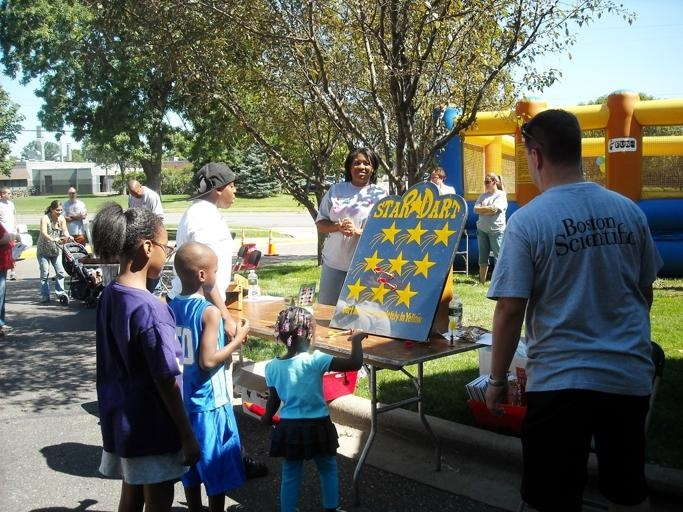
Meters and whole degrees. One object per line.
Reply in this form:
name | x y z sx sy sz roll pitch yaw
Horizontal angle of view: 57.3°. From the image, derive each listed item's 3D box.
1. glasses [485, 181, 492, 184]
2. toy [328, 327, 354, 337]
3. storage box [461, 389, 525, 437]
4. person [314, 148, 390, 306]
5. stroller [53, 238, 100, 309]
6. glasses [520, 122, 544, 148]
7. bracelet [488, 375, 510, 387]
glasses | 2.690 -1.364 11.533 0.065 0.053 0.095 1 5 -3
toy | -0.020 0.612 5.019 0.229 0.065 0.071 -9 10 -38
storage box | 1.260 1.327 5.066 0.426 0.284 0.646 1 -5 -8
person | 0.035 -0.266 5.882 0.690 1.496 0.516 2 3 18
stroller | -4.696 0.264 11.386 0.959 1.080 0.628 4 4 13
glasses | 1.039 -0.678 3.478 0.127 0.036 0.126 18 40 -20
bracelet | 0.872 0.691 3.492 0.092 0.064 0.089 1 3 27
